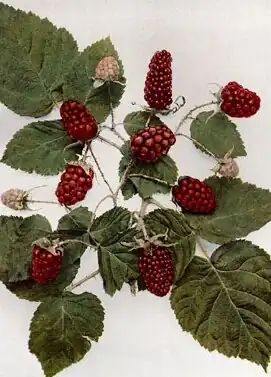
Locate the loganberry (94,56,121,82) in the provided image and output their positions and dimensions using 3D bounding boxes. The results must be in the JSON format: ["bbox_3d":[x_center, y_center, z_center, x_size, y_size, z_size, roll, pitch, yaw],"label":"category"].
[{"bbox_3d":[-0.092,-0.359,1.310,0.049,0.036,0.062,-26,-22,22],"label":"loganberry"}]
